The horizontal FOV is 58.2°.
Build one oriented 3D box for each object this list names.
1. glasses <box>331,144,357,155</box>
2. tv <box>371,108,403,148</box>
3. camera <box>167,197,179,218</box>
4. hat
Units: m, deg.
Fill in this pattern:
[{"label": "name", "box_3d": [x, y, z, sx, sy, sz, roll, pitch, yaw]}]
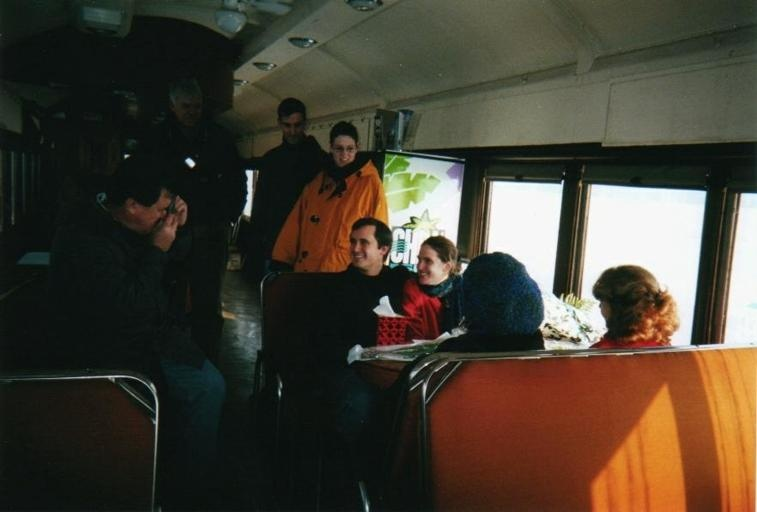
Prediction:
[{"label": "glasses", "box_3d": [-0.285, -0.897, 5.686, 0.196, 0.080, 0.081, 7, 2, -5]}, {"label": "tv", "box_3d": [0.135, -1.363, 7.357, 0.283, 0.434, 0.282, 7, 16, 22]}, {"label": "camera", "box_3d": [-1.323, -0.324, 4.407, 0.027, 0.108, 0.040, 17, -21, -18]}, {"label": "hat", "box_3d": [0.652, 0.221, 3.756, 0.507, 0.407, 0.350, 2, 6, 7]}]
